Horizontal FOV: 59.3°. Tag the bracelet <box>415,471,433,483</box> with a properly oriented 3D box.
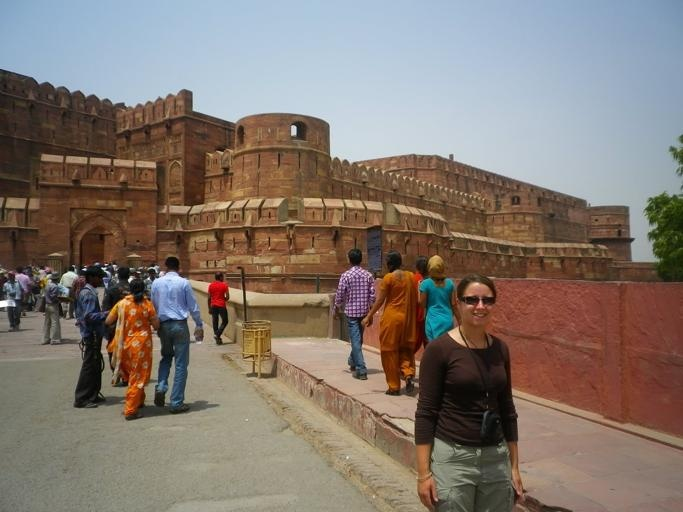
[{"bbox_3d":[0.587,1.573,4.276,0.072,0.021,0.078,-18,-1,17],"label":"bracelet"}]

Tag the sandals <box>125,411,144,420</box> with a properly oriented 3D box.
[{"bbox_3d":[-2.535,1.948,7.321,0.083,0.084,0.213,1,6,44],"label":"sandals"}]

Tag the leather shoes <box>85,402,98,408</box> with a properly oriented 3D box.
[{"bbox_3d":[-3.211,1.909,7.693,0.119,0.049,0.052,0,2,0],"label":"leather shoes"}]

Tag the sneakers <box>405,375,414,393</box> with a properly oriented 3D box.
[{"bbox_3d":[0.844,1.573,7.417,0.111,0.237,0.240,-3,5,2],"label":"sneakers"}]

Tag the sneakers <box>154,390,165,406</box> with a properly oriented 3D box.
[{"bbox_3d":[-2.360,1.822,7.771,0.097,0.253,0.104,3,25,-8],"label":"sneakers"}]

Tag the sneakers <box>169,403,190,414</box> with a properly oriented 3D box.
[{"bbox_3d":[-2.055,1.937,7.640,0.220,0.098,0.107,-2,4,-22],"label":"sneakers"}]

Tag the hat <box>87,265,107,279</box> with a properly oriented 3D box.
[{"bbox_3d":[-3.346,0.214,8.212,0.219,0.221,0.176,2,-1,-13],"label":"hat"}]

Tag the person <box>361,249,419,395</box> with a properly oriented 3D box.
[{"bbox_3d":[0.705,0.821,7.500,0.587,1.741,0.619,-5,5,-19],"label":"person"}]

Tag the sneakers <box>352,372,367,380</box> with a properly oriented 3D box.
[{"bbox_3d":[0.237,1.631,8.189,0.071,0.091,0.208,0,-2,-39],"label":"sneakers"}]
